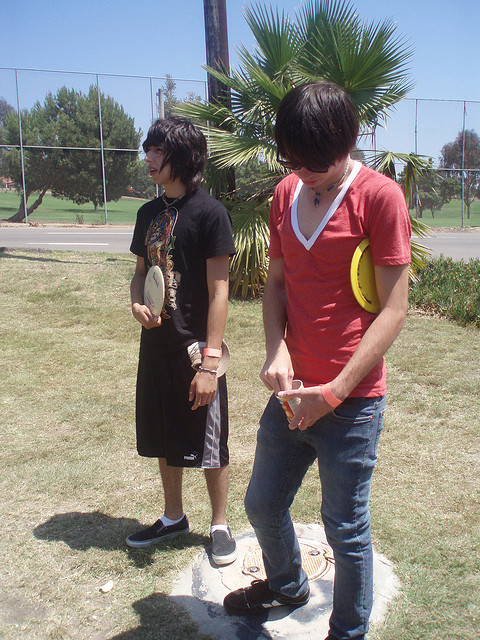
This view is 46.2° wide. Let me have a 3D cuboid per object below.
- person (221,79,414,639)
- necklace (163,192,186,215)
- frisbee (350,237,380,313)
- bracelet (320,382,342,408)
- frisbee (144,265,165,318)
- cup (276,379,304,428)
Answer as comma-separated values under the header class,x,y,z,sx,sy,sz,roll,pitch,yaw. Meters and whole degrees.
class,x,y,z,sx,sy,sz,roll,pitch,yaw
person,0.208,0.208,1.603,0.323,1.657,0.525,-4,8,-24
necklace,-0.289,-0.464,2.269,0.060,0.085,0.138,-7,11,-40
frisbee,0.324,-0.111,1.435,0.095,0.193,0.025,-5,9,-34
bracelet,0.221,0.187,1.381,0.050,0.058,0.028,6,10,35
frisbee,-0.342,-0.105,2.208,0.021,0.218,0.180,1,-2,-26
cup,0.130,0.230,1.492,0.052,0.095,0.057,-12,22,5
